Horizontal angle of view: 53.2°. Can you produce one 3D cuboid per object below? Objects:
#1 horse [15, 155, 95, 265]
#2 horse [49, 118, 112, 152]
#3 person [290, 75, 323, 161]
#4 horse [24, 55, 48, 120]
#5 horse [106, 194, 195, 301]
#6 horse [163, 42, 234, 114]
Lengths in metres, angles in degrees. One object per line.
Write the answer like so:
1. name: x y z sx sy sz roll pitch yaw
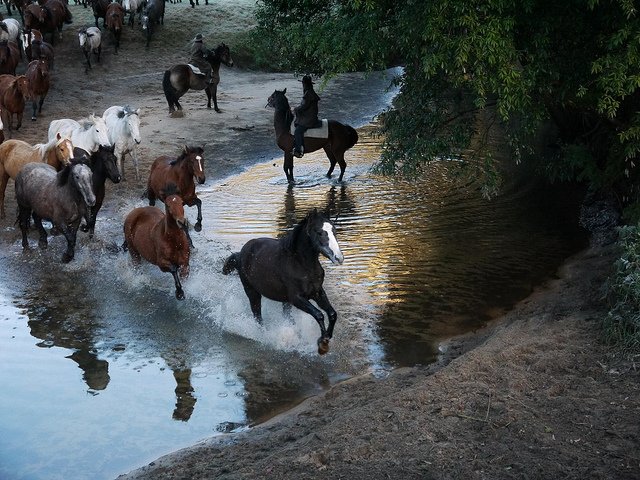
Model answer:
1. horse: -5.756 -0.681 13.935 3.520 2.366 1.002 14 17 40
2. horse: -6.096 -2.633 16.305 1.531 0.993 0.404 34 57 25
3. person: -0.446 -3.532 18.762 0.848 2.445 0.856 5 20 14
4. horse: -10.093 -5.454 23.023 0.757 2.103 1.398 -8 21 -21
5. horse: -2.987 0.036 12.027 0.680 2.069 1.771 -13 23 -32
6. horse: -5.015 -6.517 26.317 3.509 2.786 0.915 -21 33 -40
